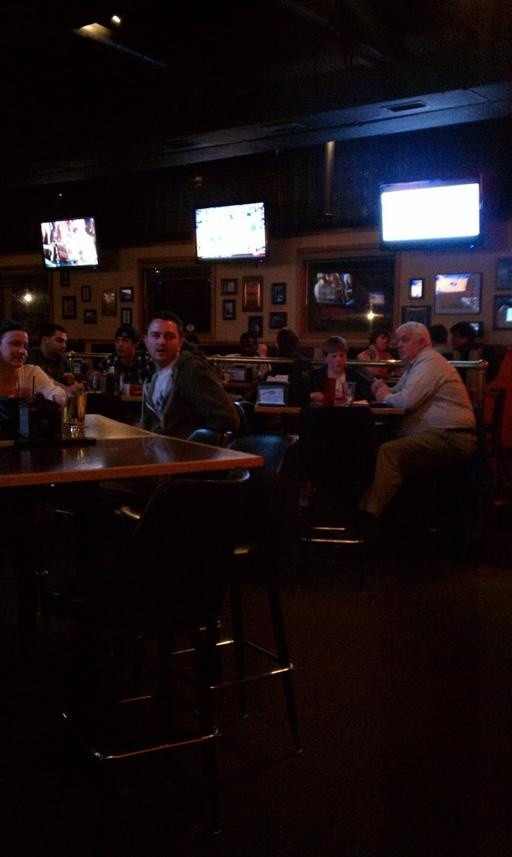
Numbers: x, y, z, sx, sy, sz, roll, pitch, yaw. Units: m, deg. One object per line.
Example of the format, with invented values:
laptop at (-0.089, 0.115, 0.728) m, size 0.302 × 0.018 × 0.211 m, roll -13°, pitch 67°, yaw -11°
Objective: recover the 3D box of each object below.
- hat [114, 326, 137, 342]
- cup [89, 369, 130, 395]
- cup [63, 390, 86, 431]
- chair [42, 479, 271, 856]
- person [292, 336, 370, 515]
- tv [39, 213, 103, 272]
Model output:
hat at (-1.073, -0.762, 5.293) m, size 0.128 × 0.123 × 0.144 m, roll 16°, pitch -5°, yaw -5°
cup at (-1.020, -0.319, 4.330) m, size 0.256 × 0.284 × 0.158 m, roll 2°, pitch 6°, yaw 9°
cup at (-0.546, -0.050, 1.908) m, size 0.100 × 0.125 × 0.070 m, roll 5°, pitch 4°, yaw 41°
chair at (-0.276, 0.469, 1.885) m, size 0.593 × 1.344 × 0.638 m, roll 2°, pitch -2°, yaw -17°
person at (0.249, -0.021, 3.385) m, size 0.475 × 0.769 × 0.420 m, roll -14°, pitch 9°, yaw -42°
tv at (-2.701, -2.718, 9.394) m, size 0.886 × 0.719 × 0.098 m, roll 5°, pitch 16°, yaw 29°
